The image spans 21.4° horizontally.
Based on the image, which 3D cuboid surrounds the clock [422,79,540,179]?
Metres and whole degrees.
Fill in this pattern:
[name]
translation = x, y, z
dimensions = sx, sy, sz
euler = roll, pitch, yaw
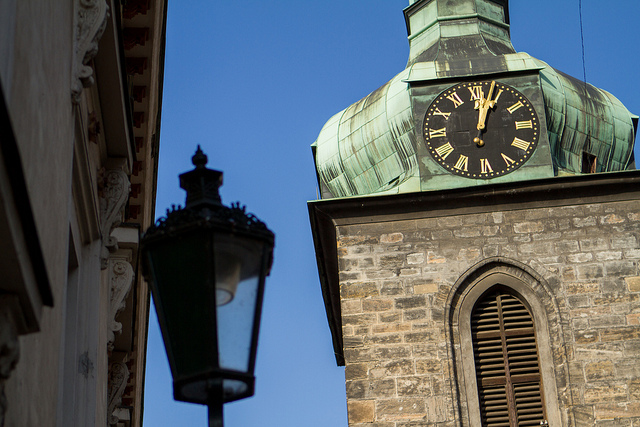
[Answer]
[clock]
translation = 3.039, -1.481, 31.581
dimensions = 2.170, 2.163, 0.180
euler = 3, -40, 3
